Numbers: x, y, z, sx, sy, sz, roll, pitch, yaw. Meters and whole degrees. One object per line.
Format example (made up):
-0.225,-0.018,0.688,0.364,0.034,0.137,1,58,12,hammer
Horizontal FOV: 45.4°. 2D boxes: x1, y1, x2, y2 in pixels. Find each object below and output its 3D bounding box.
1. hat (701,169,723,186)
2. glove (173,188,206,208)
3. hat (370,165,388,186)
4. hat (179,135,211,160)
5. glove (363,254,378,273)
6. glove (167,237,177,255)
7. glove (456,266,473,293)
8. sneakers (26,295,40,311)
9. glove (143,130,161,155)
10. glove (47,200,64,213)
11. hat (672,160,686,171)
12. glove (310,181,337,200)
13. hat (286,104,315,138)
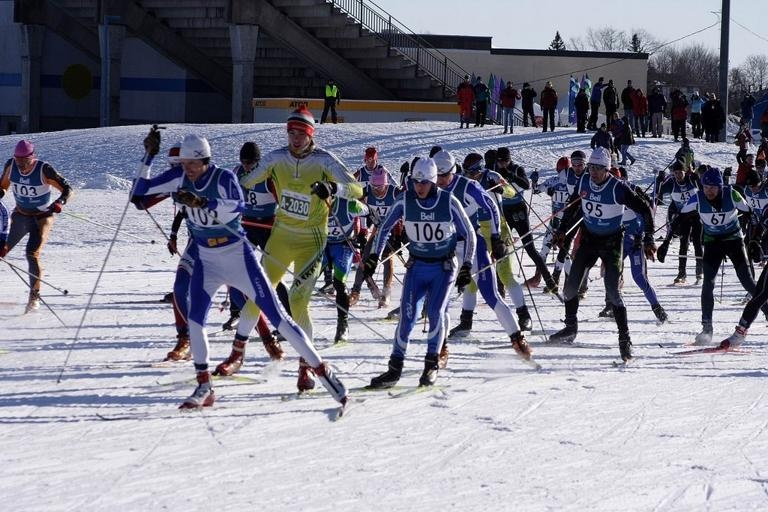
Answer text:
4.772,-1.099,13.335,0.226,0.275,0.320,6,42,16,hat
-2.046,-0.603,9.708,0.196,0.081,0.246,18,0,33,glove
-0.056,-1.270,14.616,0.235,0.296,0.344,8,47,7,hat
-2.047,-1.153,9.950,0.241,0.290,0.313,0,-8,-16,hat
-0.142,0.090,10.577,0.134,0.221,0.087,33,-6,-5,glove
-3.124,-0.162,13.564,0.111,0.318,0.225,1,4,-7,glove
0.898,0.268,10.657,0.094,0.293,0.217,27,15,33,glove
-5.131,0.688,13.459,0.125,0.304,0.070,-5,33,-10,sneakers
-2.580,-1.282,10.252,0.156,0.301,0.541,-1,13,-12,glove
-4.896,-0.764,13.835,0.194,0.101,0.259,1,33,7,glove
5.603,-1.723,17.419,0.231,0.183,0.239,2,14,16,hat
-0.652,-0.740,10.266,0.175,0.111,0.242,23,23,37,glove
-0.949,-1.554,10.460,0.298,0.374,0.550,0,13,-7,hat
